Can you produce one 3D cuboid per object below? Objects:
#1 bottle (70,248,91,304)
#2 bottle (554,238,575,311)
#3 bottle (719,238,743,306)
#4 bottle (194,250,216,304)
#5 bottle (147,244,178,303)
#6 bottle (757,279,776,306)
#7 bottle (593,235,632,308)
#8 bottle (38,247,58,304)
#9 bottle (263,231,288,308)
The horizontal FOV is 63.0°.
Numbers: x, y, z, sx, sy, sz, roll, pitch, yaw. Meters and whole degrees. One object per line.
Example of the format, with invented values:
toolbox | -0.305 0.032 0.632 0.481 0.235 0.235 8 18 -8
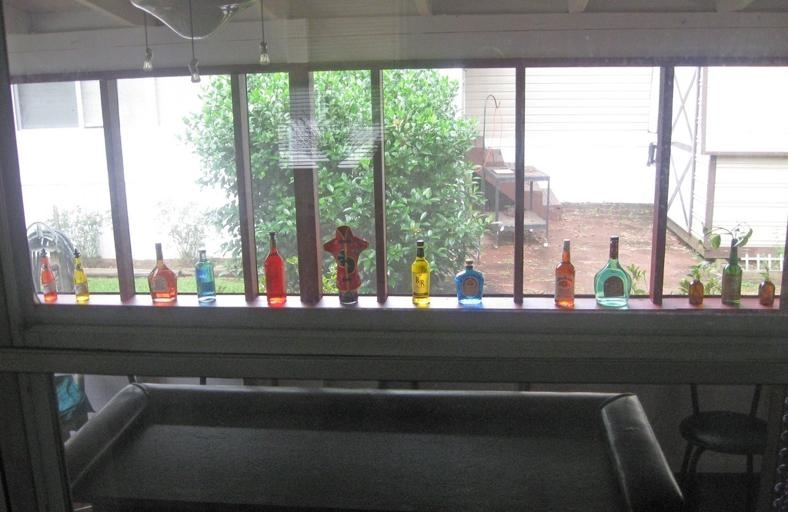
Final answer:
bottle | -0.441 0.030 0.910 0.026 0.076 0.010 4 12 28
bottle | 0.224 0.026 0.843 0.025 0.093 0.011 0 11 11
bottle | 0.437 0.022 0.834 0.031 0.088 0.011 -6 11 -19
bottle | -0.261 0.030 0.889 0.033 0.078 0.008 2 12 21
bottle | -0.322 0.025 0.898 0.041 0.083 0.016 1 11 16
bottle | 0.484 0.049 0.837 0.022 0.034 0.006 -4 11 -9
bottle | 0.284 0.023 0.841 0.047 0.095 0.015 -3 11 -2
bottle | -0.497 0.029 0.923 0.026 0.077 0.010 4 12 30
bottle | -0.162 0.019 0.878 0.028 0.102 0.014 -4 11 -10
